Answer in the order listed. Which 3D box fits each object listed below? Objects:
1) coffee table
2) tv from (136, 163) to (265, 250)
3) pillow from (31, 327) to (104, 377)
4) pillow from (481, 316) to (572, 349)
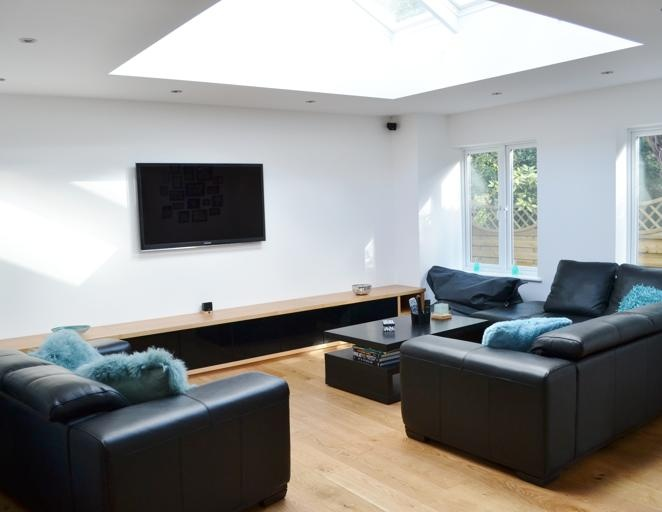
[{"bbox_3d":[0.724,0.855,4.767,1.279,0.470,0.715,-3,4,-42],"label":"coffee table"},{"bbox_3d":[-1.493,-0.548,5.497,1.051,0.637,0.036,-4,6,-35],"label":"tv"},{"bbox_3d":[-1.694,0.569,3.108,0.379,0.284,0.118,-2,-9,1],"label":"pillow"},{"bbox_3d":[1.270,0.475,3.291,0.483,0.154,0.227,-8,7,-12],"label":"pillow"}]
